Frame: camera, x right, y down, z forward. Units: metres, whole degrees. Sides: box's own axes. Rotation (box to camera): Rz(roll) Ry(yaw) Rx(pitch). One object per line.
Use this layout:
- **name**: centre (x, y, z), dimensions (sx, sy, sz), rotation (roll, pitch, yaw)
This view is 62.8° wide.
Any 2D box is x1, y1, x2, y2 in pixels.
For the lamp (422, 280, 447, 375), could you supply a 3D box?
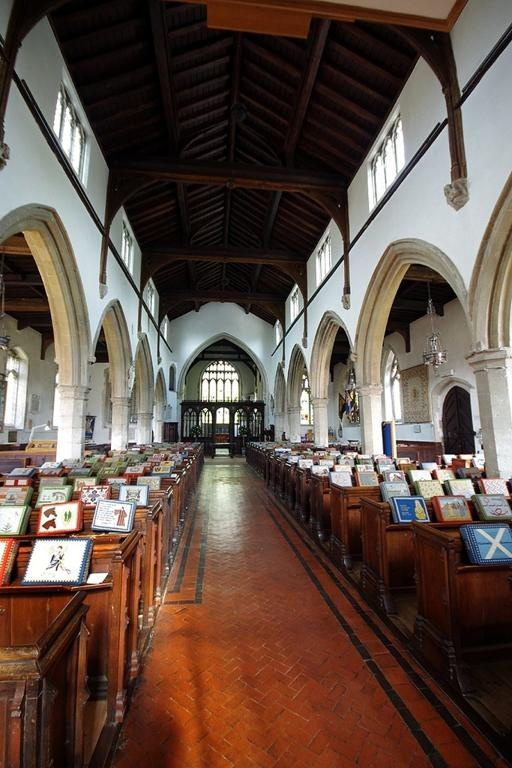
- **lamp**: centre (3.731, -1.257, 8.829), dimensions (0.405, 1.864, 0.402), rotation (-4, 2, 29)
